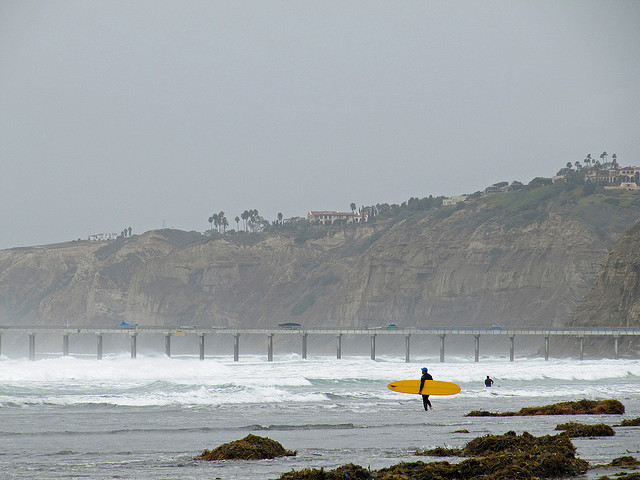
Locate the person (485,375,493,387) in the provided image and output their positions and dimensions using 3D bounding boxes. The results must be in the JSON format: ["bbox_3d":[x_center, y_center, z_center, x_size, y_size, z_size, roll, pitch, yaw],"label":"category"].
[{"bbox_3d":[24.610,21.287,240.635,1.004,1.302,3.131,0,2,6],"label":"person"}]
